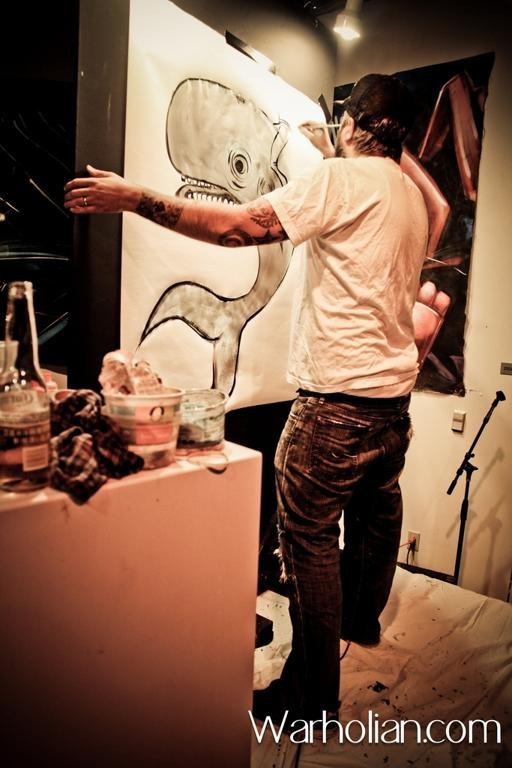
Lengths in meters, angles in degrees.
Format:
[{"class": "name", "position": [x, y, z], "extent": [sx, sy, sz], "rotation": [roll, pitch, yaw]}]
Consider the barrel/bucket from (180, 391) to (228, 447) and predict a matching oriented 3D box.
[{"class": "barrel/bucket", "position": [-0.097, 0.062, 1.120], "extent": [0.088, 0.084, 0.097], "rotation": [2, -1, -3]}]

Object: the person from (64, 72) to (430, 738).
[{"class": "person", "position": [0.123, 0.053, 1.482], "extent": [0.391, 1.614, 0.935], "rotation": [8, 10, 37]}]

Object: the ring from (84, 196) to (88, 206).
[{"class": "ring", "position": [-0.327, -0.349, 1.142], "extent": [0.009, 0.015, 0.005], "rotation": [5, 8, 16]}]

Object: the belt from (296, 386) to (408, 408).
[{"class": "belt", "position": [0.251, 0.031, 1.456], "extent": [0.291, 0.042, 0.130], "rotation": [2, 9, -7]}]

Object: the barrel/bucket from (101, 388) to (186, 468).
[{"class": "barrel/bucket", "position": [-0.187, 0.070, 0.996], "extent": [0.116, 0.113, 0.132], "rotation": [-1, -3, 3]}]
